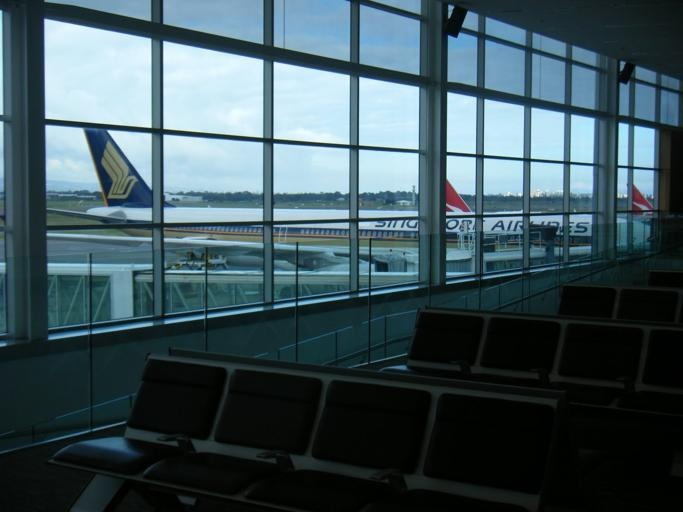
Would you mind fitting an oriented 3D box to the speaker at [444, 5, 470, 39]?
[{"bbox_3d":[2.212,-4.582,11.543,0.192,0.750,0.545,26,-11,3],"label":"speaker"}]
